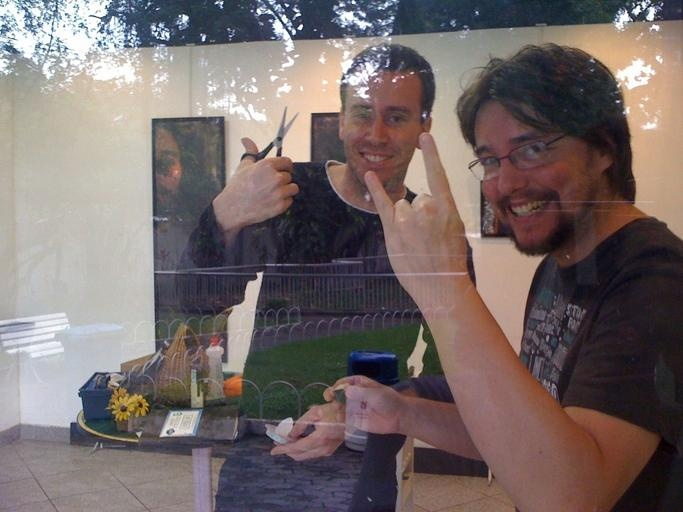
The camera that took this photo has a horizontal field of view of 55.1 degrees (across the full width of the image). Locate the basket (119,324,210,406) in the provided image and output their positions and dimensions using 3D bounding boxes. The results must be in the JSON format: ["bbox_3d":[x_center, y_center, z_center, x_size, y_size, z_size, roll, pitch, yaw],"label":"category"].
[{"bbox_3d":[-0.669,0.412,2.588,0.316,0.237,0.317,3,-1,12],"label":"basket"}]

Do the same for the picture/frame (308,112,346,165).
[{"bbox_3d":[-0.049,-0.430,2.371,0.176,0.219,0.015,1,4,10],"label":"picture/frame"}]
